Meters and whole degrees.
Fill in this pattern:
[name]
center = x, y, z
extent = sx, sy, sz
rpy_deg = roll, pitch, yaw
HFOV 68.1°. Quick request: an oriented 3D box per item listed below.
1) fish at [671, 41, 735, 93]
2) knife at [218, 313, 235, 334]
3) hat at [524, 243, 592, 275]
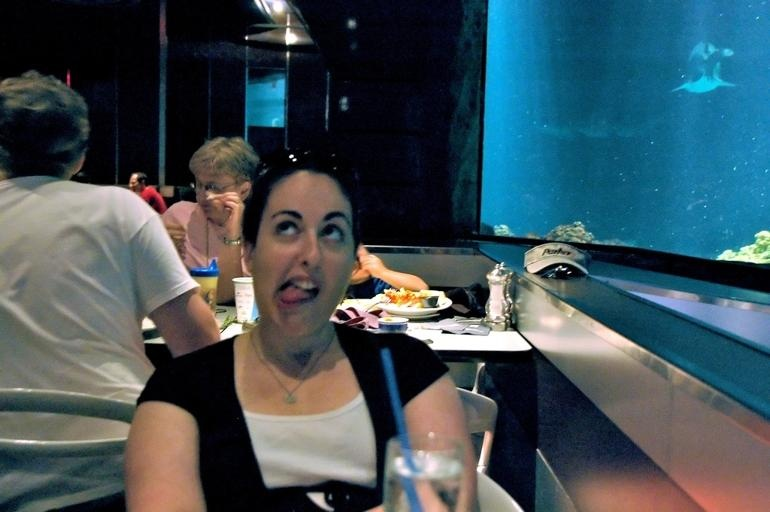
[fish]
center = 4.044, -2.387, 7.181
extent = 0.494, 0.277, 0.777
rpy_deg = -2, 5, 8
[knife]
center = -0.677, 0.280, 2.421
extent = 0.022, 0.052, 0.049
rpy_deg = 32, -24, 20
[hat]
center = 0.794, 0.027, 2.704
extent = 0.211, 0.076, 0.174
rpy_deg = -9, -22, 30
